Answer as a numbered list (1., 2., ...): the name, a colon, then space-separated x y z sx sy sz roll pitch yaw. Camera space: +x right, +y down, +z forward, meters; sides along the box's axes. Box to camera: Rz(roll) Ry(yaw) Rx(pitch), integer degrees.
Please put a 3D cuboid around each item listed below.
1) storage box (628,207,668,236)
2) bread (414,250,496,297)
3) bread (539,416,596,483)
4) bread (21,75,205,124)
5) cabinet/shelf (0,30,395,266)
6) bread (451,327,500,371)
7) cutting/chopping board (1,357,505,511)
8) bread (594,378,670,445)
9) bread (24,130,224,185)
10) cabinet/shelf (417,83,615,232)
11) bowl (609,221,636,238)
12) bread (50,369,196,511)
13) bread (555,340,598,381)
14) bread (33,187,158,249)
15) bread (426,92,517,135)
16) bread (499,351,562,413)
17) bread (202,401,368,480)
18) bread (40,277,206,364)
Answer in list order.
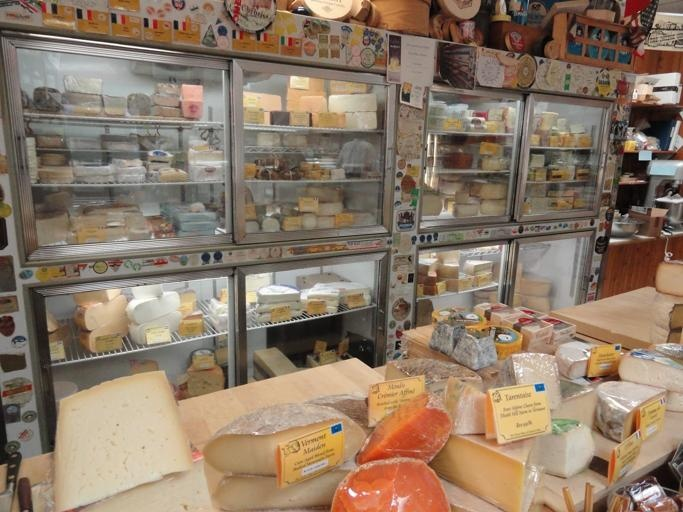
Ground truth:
1. storage box: 3.424 -0.389 4.999 0.203 0.226 0.345 -4 11 -13
2. bread: 0.994 0.116 3.880 0.944 0.354 0.261 -10 16 -32
3. bread: 0.655 0.567 1.343 0.165 0.123 0.171 -2 0 43
4. bread: -1.256 -0.895 2.502 0.896 0.239 0.216 -9 15 -31
5. cabinet/shelf: -0.881 -0.650 2.592 1.736 0.662 0.474 -4 8 -29
6. bread: 0.497 0.340 1.643 0.156 0.137 0.136 -22 18 -16
7. cutting/chopping board: -0.261 0.511 1.270 0.892 0.183 0.739 -8 3 -20
8. bread: 0.921 0.522 1.507 0.280 0.119 0.212 1 8 -43
9. bread: -1.204 -0.563 2.564 0.992 0.291 0.265 -8 15 -28
10. cabinet/shelf: 1.344 -0.855 4.063 2.203 1.079 0.626 -5 13 -29
11. bowl: 3.076 -0.287 4.825 0.347 0.176 0.139 -7 15 -24
12. bread: -0.579 0.465 1.156 0.314 0.237 0.183 -9 15 -28
13. bread: 0.839 0.399 1.652 0.163 0.047 0.122 11 13 6
14. bread: -1.391 -0.231 2.504 0.543 0.280 0.322 -8 15 -28
15. bread: 1.064 -1.123 3.501 0.870 0.304 0.354 -11 16 -37
16. bread: 0.575 0.388 1.337 0.167 0.161 0.167 -6 14 -16
17. bread: -0.159 0.415 1.121 0.256 0.066 0.236 -2 3 -26
18. bread: -1.325 0.388 2.662 0.571 0.137 0.572 3 9 42
